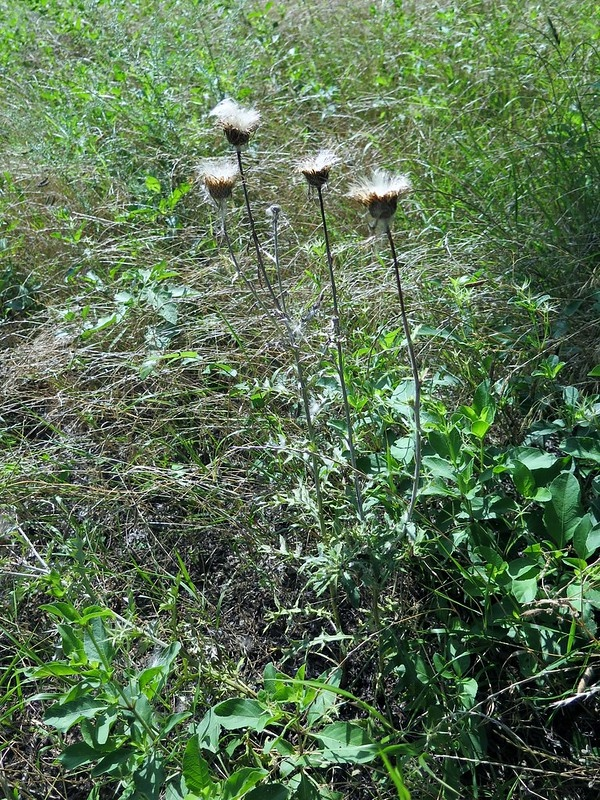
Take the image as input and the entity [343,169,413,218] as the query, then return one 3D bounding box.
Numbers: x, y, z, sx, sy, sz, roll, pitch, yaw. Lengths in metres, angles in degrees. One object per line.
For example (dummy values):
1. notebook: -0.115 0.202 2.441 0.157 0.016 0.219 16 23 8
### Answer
1. entity: 0.152 -0.381 1.524 0.106 0.102 0.210 -15 23 11
